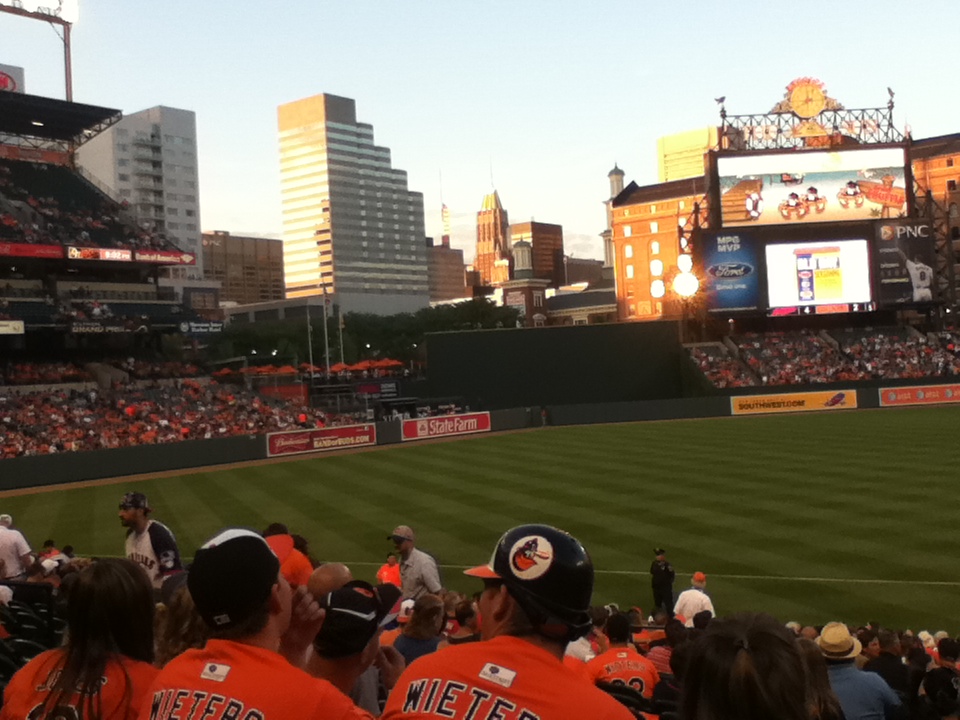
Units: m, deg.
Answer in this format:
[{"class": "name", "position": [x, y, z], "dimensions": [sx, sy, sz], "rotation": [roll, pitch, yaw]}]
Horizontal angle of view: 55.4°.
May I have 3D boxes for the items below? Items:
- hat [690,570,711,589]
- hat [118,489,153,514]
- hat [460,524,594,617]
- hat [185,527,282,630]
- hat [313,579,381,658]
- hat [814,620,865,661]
[{"class": "hat", "position": [2.993, 3.018, 12.536], "dimensions": [0.144, 0.211, 0.545], "rotation": [-3, 1, 9]}, {"class": "hat", "position": [-3.584, 1.510, 9.597], "dimensions": [0.222, 0.233, 0.331], "rotation": [-3, 1, 0]}, {"class": "hat", "position": [0.332, 1.128, 4.975], "dimensions": [0.572, 0.316, 0.409], "rotation": [23, 1, 32]}, {"class": "hat", "position": [-1.331, 1.140, 5.072], "dimensions": [0.537, 0.772, 0.451], "rotation": [3, 16, -10]}, {"class": "hat", "position": [-0.756, 1.513, 5.292], "dimensions": [0.430, 0.329, 0.684], "rotation": [20, -13, 6]}, {"class": "hat", "position": [2.650, 2.100, 6.810], "dimensions": [0.265, 0.216, 0.404], "rotation": [-2, 1, 24]}]
